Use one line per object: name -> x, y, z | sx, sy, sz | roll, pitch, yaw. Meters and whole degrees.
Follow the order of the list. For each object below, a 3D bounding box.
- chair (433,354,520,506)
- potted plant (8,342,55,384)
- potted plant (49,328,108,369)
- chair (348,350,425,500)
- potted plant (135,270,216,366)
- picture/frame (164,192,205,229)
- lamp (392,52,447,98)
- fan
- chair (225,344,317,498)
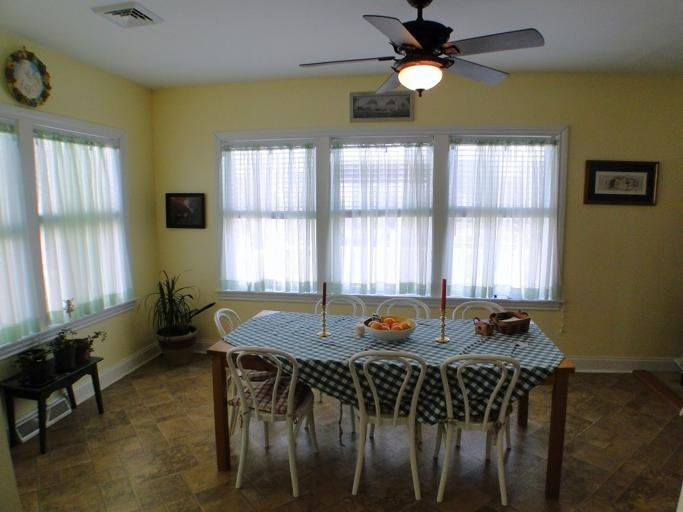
chair -> 1.027, 1.199, 3.983 | 0.554, 1.122, 0.656 | 2, 9, 14
potted plant -> -2.581, 0.901, 4.433 | 0.285, 0.296, 0.307 | 1, 1, -22
potted plant -> -2.337, 0.800, 4.692 | 0.375, 0.246, 0.331 | 0, 0, -29
chair -> 0.332, 1.181, 3.982 | 0.559, 1.127, 0.531 | 0, 9, 1
potted plant -> -1.843, 0.690, 5.914 | 0.605, 0.930, 0.664 | -6, 10, -31
picture/frame -> -1.748, -0.510, 5.972 | 0.423, 0.355, 0.041 | 0, 3, 6
lamp -> 0.536, -1.223, 3.719 | 0.278, 0.164, 0.275 | 0, -6, 5
fan -> 0.687, -1.350, 3.586 | 1.164, 0.451, 0.662 | -1, 8, -7
chair -> -0.531, 1.156, 4.171 | 0.652, 1.118, 0.778 | 0, 9, 5
